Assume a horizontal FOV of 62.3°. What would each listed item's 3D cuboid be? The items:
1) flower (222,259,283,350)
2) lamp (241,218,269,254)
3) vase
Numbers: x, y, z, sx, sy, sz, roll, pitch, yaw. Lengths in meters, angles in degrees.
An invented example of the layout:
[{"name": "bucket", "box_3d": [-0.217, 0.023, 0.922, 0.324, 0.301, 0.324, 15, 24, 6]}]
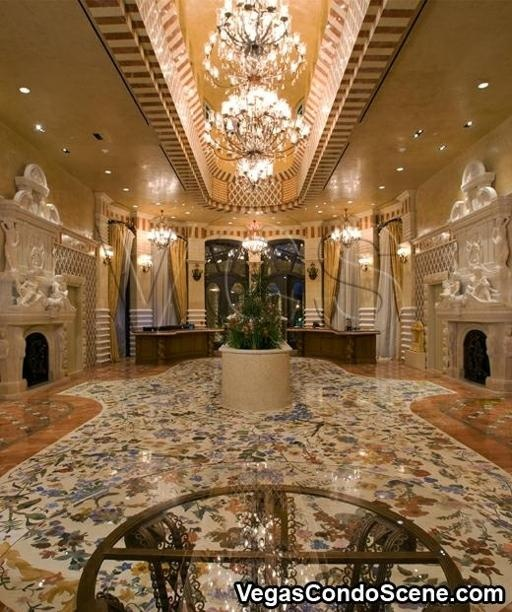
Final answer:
[{"name": "flower", "box_3d": [-0.068, 0.114, 5.846, 0.675, 1.041, 0.750, -5, -9, -8]}, {"name": "lamp", "box_3d": [-0.030, -1.915, 11.275, 0.535, 0.943, 0.702, 0, 0, 35]}, {"name": "vase", "box_3d": [0.012, 0.901, 5.731, 0.998, 0.785, 0.972, -1, 5, 0]}]
